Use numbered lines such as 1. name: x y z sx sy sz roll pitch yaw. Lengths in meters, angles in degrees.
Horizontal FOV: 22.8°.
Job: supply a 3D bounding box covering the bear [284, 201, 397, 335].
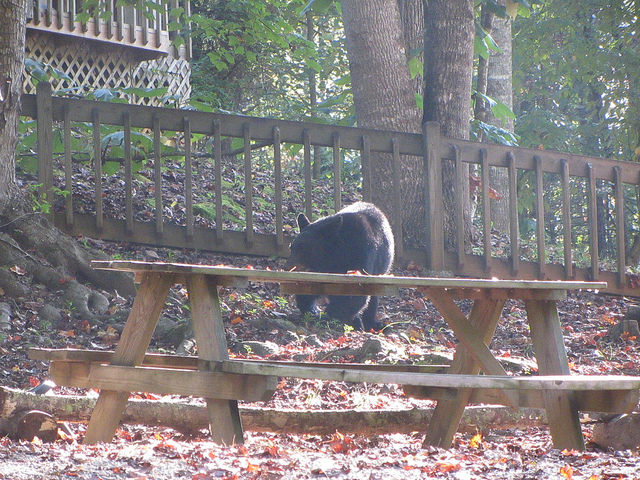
1. bear: 0.343 0.257 25.379 2.213 1.722 1.115 -13 24 -42
